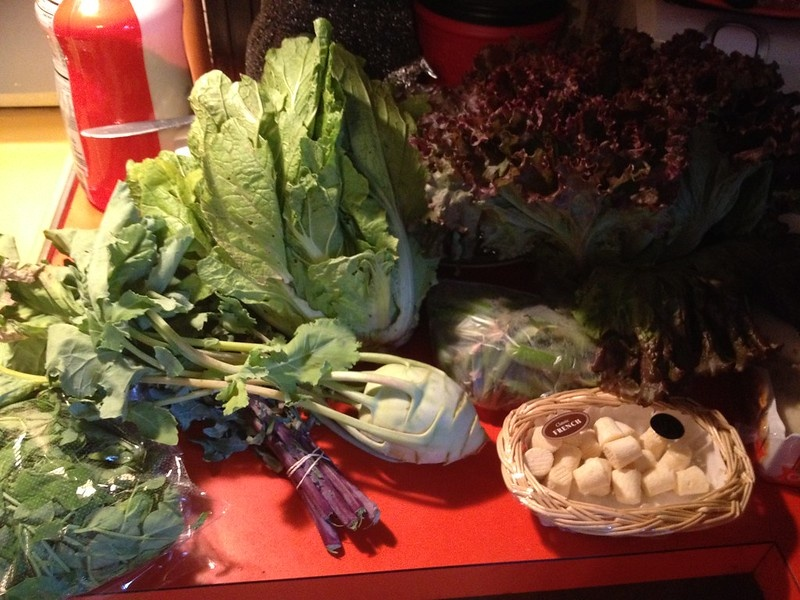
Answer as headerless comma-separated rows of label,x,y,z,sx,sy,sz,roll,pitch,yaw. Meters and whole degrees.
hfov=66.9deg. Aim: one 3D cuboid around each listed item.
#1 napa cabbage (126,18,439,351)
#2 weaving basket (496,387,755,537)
napa cabbage,-0.164,-0.174,1.161,0.589,0.563,0.266,-19,-7,1
weaving basket,0.371,0.286,1.005,0.358,0.079,0.265,-4,51,-1
